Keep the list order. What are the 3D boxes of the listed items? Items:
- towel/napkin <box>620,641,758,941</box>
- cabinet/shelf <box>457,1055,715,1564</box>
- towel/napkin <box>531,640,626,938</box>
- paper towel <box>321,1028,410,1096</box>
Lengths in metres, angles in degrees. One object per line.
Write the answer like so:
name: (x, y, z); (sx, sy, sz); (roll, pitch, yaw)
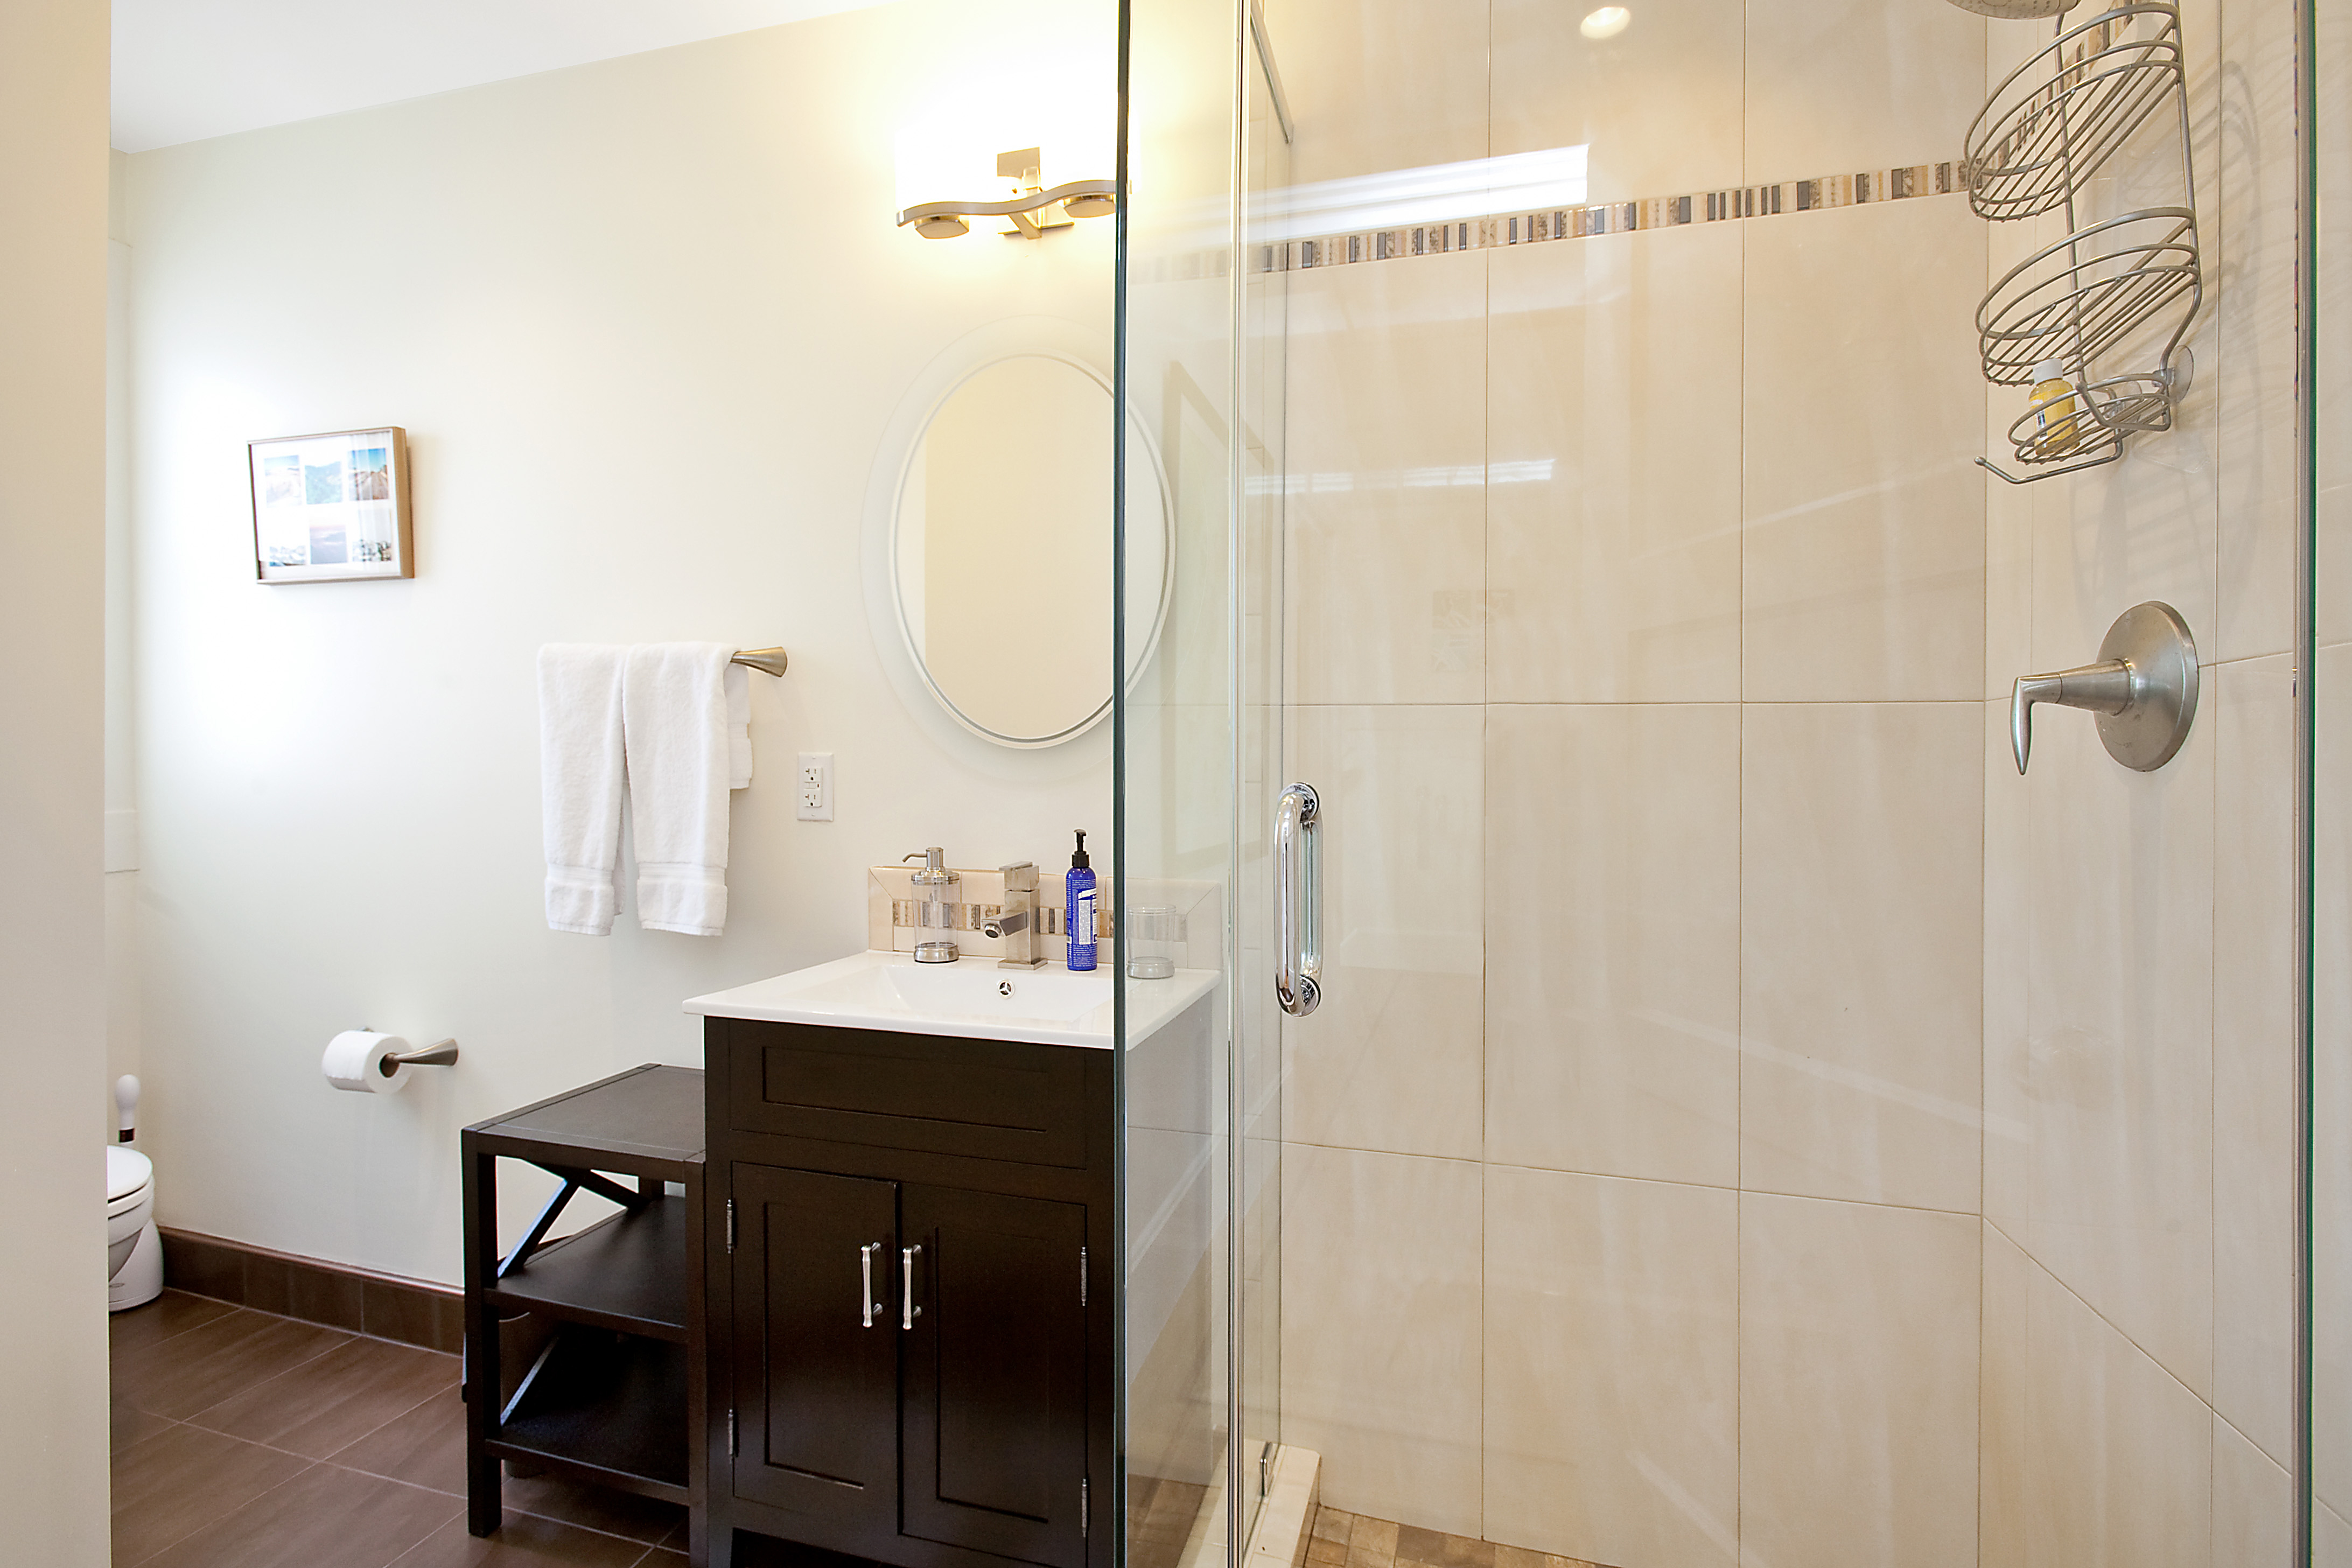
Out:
towel/napkin: (-1.030, 0.002, 3.706); (0.240, 0.583, 0.106); (1, 5, 19)
cabinet/shelf: (-1.094, 1.047, 3.520); (0.516, 0.806, 0.480); (0, 5, 4)
towel/napkin: (-1.269, 0.003, 3.776); (0.272, 0.596, 0.121); (3, 6, 36)
paper towel: (-1.788, 0.632, 3.972); (0.163, 0.150, 0.137); (2, 5, 26)
